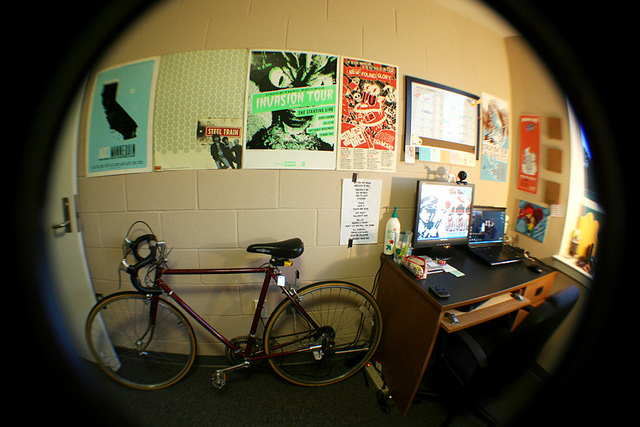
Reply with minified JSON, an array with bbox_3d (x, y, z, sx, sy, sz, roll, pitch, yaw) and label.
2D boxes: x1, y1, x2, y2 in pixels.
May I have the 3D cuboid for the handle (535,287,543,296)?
[{"bbox_3d":[1.784,0.626,3.505,0.047,0.065,0.024,25,15,10],"label":"handle"}]

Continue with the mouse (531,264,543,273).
[{"bbox_3d":[1.782,0.445,3.529,0.075,0.043,0.124,2,8,25],"label":"mouse"}]

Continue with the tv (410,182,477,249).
[{"bbox_3d":[0.998,0.001,3.570,0.546,0.520,0.041,4,9,-22],"label":"tv"}]

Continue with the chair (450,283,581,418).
[{"bbox_3d":[1.463,1.035,3.273,0.718,1.107,0.655,-9,30,-29],"label":"chair"}]

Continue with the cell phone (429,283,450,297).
[{"bbox_3d":[0.903,0.584,3.272,0.117,0.074,0.122,-4,8,-17],"label":"cell phone"}]

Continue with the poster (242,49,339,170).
[{"bbox_3d":[-0.275,-0.880,3.480,0.900,1.024,0.052,5,-1,-9],"label":"poster"}]

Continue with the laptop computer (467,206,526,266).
[{"bbox_3d":[1.506,0.164,3.618,0.448,0.402,0.326,-2,13,-29],"label":"laptop computer"}]

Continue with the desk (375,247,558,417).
[{"bbox_3d":[1.254,0.961,3.804,1.314,1.192,0.836,-10,29,-26],"label":"desk"}]

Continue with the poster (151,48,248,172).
[{"bbox_3d":[-0.975,-0.884,3.465,0.933,1.108,0.019,0,6,6],"label":"poster"}]

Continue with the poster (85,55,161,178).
[{"bbox_3d":[-1.600,-0.788,3.488,0.625,0.947,0.112,-1,8,2],"label":"poster"}]

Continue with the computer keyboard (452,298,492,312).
[{"bbox_3d":[1.143,0.718,3.324,0.305,0.087,0.122,-15,-23,6],"label":"computer keyboard"}]

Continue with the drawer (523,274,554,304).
[{"bbox_3d":[1.732,0.596,3.430,0.206,0.190,0.104,-10,29,-29],"label":"drawer"}]
